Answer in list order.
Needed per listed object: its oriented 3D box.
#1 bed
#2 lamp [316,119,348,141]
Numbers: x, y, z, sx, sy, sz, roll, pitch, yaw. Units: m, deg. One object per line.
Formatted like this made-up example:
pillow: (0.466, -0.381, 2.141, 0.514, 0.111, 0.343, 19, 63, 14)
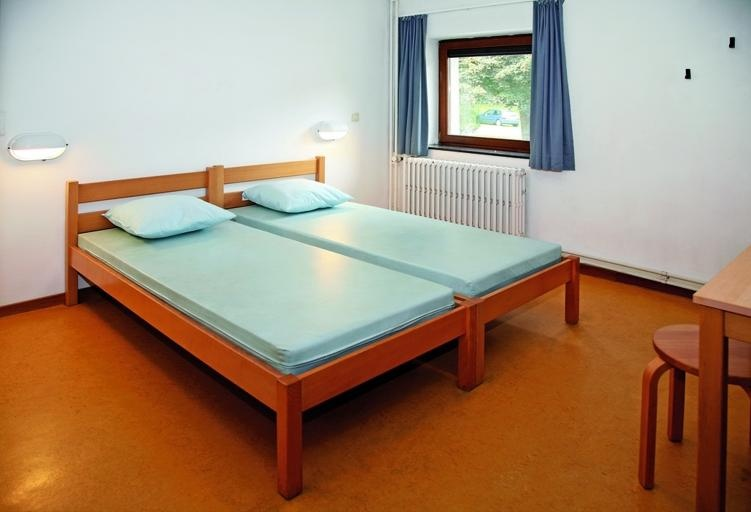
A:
bed: (-0.432, 0.055, 4.078, 2.707, 1.248, 3.101, -17, 25, -42)
lamp: (-0.458, -1.318, 5.491, 0.340, 0.220, 0.297, -8, 20, -23)
